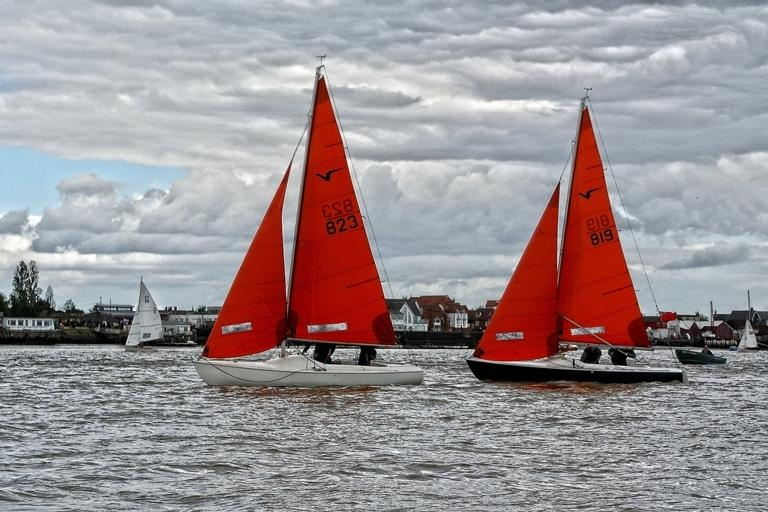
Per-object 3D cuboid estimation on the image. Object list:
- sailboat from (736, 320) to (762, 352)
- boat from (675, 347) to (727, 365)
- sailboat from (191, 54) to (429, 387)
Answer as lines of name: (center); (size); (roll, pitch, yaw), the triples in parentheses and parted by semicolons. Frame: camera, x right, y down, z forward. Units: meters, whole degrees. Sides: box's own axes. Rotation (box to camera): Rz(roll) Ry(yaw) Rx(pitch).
sailboat: (49.787, 10.801, 136.928); (2.340, 4.299, 14.136); (-5, -7, 20)
boat: (30.782, 9.726, 97.192); (5.243, 1.106, 1.644); (4, 2, 7)
sailboat: (-4.073, -1.439, 49.861); (8.748, 15.956, 2.375); (-2, -7, -4)
